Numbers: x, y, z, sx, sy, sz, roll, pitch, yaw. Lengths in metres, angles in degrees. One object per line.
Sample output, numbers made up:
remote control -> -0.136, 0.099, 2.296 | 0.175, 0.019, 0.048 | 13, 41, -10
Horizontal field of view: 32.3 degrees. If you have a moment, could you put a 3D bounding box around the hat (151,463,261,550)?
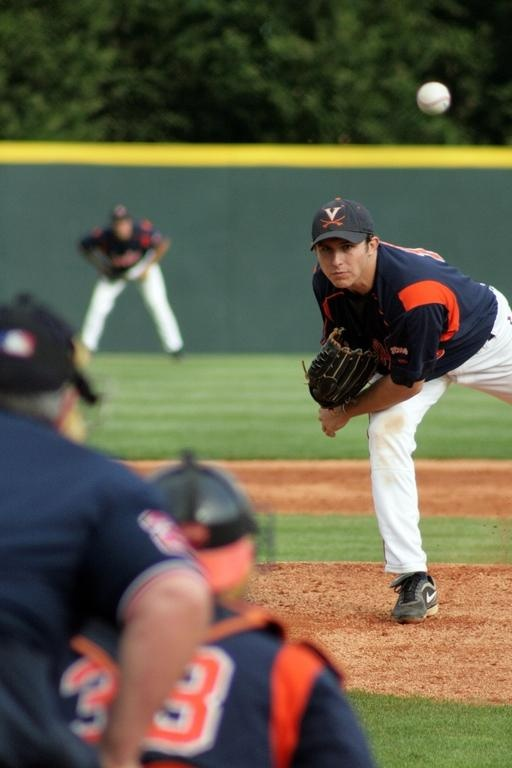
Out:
hat -> -0.058, 0.132, 1.022 | 0.083, 0.046, 0.112 | -30, 85, -10

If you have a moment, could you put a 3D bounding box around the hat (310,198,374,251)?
hat -> 0.251, -0.523, 2.828 | 0.195, 0.127, 0.251 | 0, 21, 26

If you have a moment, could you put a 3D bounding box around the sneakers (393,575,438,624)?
sneakers -> 0.514, 0.716, 2.915 | 0.138, 0.156, 0.155 | -7, 55, 10
